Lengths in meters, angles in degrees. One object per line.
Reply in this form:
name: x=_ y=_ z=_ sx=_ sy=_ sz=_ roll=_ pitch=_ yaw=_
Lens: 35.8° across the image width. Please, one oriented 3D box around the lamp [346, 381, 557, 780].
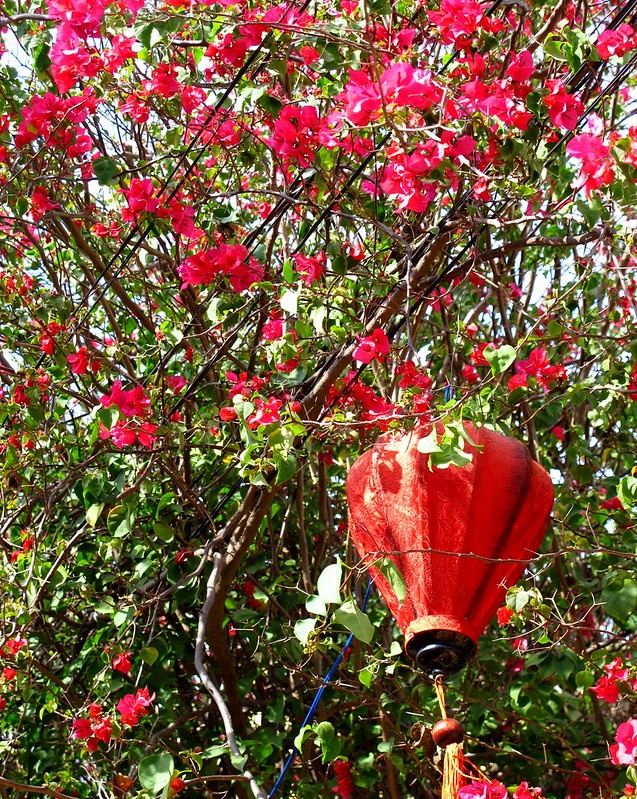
lamp: x=0.211 y=0.396 z=2.145 sx=0.482 sy=0.826 sz=0.465 roll=12 pitch=-33 yaw=13
